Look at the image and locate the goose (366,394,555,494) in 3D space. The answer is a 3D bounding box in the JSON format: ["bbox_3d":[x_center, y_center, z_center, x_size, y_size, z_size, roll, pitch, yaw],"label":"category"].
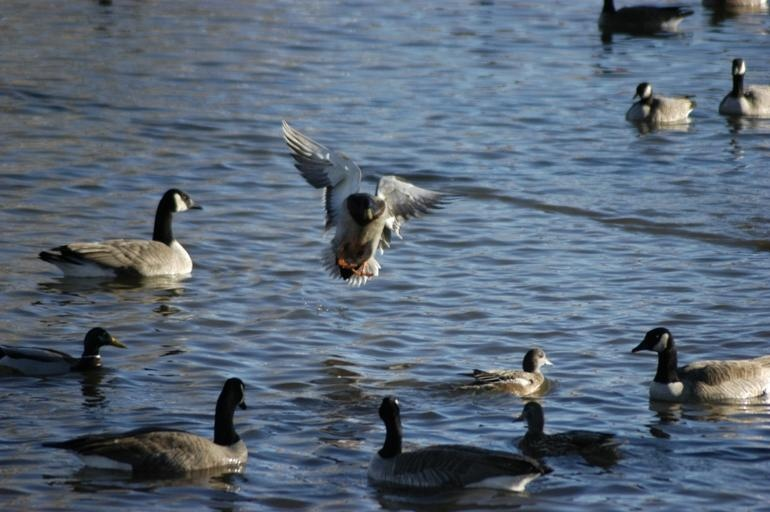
[{"bbox_3d":[0.129,3.610,24.909,2.251,1.553,4.591,1,-1,-18],"label":"goose"}]

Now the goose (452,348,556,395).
[{"bbox_3d":[2.321,2.517,27.554,2.493,0.928,0.733,-1,5,-15],"label":"goose"}]

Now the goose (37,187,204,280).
[{"bbox_3d":[-6.262,-0.589,31.711,3.363,1.754,1.154,7,-3,-24],"label":"goose"}]
